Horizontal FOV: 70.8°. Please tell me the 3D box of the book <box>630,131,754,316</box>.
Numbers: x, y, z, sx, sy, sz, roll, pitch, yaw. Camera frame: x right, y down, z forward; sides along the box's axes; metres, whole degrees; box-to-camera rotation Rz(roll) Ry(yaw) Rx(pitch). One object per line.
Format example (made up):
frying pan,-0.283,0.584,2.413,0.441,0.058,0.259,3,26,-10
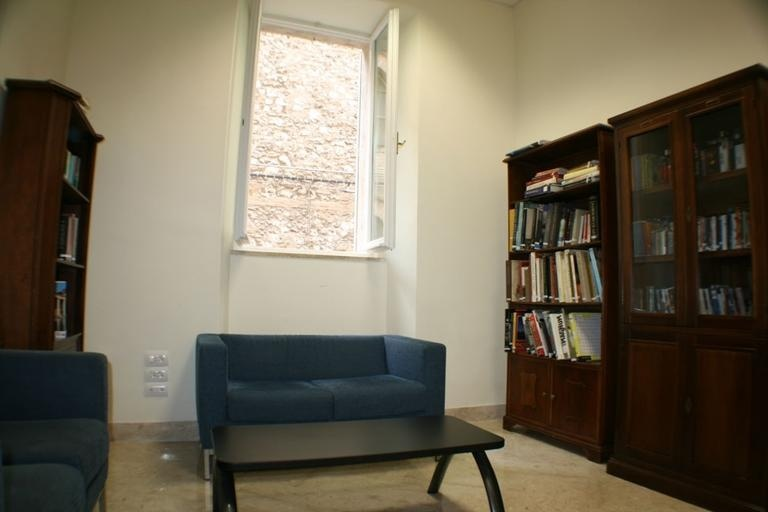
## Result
book,2.015,-0.256,3.626,0.075,1.295,0.759,4,-7,-38
